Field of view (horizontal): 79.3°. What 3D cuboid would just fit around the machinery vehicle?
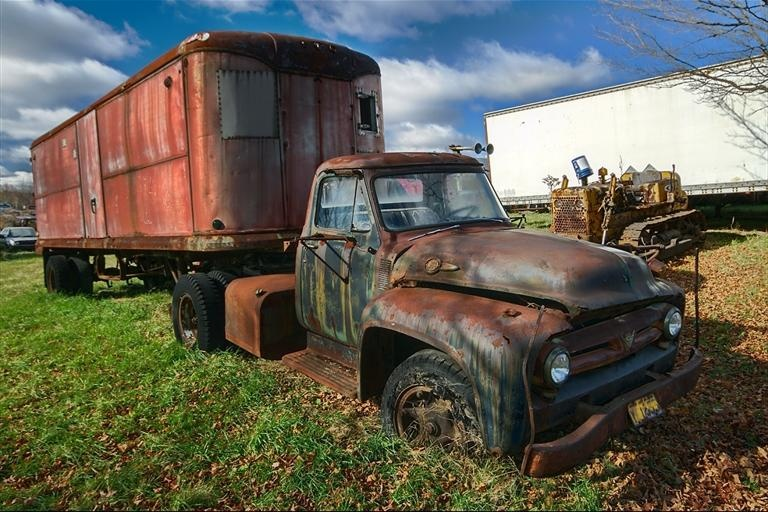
[{"bbox_3d":[7.126,-1.355,13.114,5.261,2.682,3.480,-13,16,-36],"label":"machinery vehicle"}]

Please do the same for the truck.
[{"bbox_3d":[-1.471,-0.779,6.892,10.147,5.453,2.339,-1,7,36],"label":"truck"}]
